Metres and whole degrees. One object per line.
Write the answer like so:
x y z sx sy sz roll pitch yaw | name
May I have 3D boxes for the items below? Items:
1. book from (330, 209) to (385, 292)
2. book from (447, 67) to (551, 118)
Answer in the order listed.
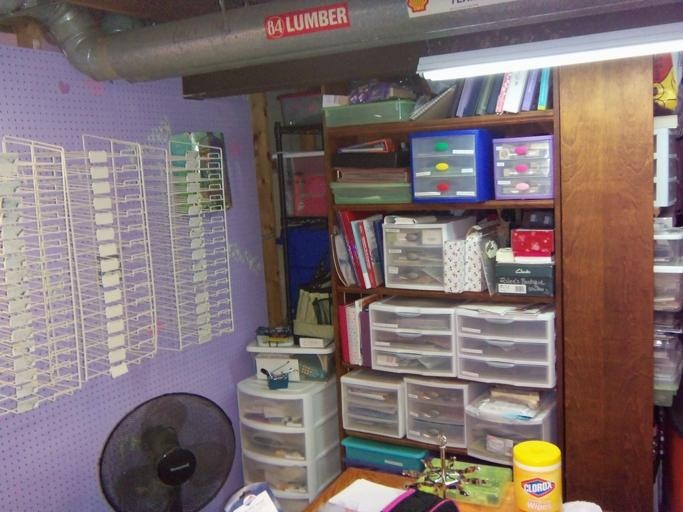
0.093 -0.037 3.178 0.280 0.412 0.476 4 6 20 | book
0.775 -0.769 2.725 0.341 0.097 0.250 4 10 31 | book
